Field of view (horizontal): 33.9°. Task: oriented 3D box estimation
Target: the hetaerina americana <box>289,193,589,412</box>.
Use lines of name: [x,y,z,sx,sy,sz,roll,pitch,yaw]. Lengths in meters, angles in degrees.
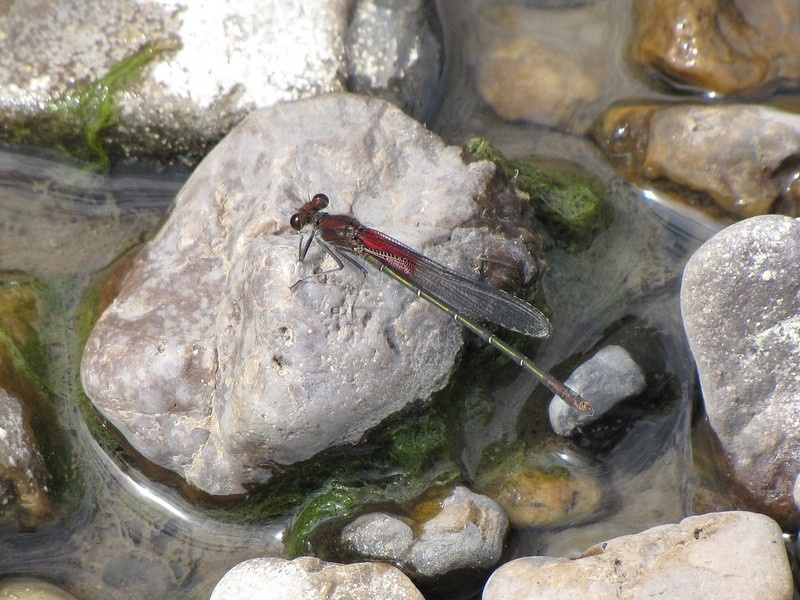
hetaerina americana: [0.232,0.084,9.534,2.568,0.791,0.848,29,45,15]
